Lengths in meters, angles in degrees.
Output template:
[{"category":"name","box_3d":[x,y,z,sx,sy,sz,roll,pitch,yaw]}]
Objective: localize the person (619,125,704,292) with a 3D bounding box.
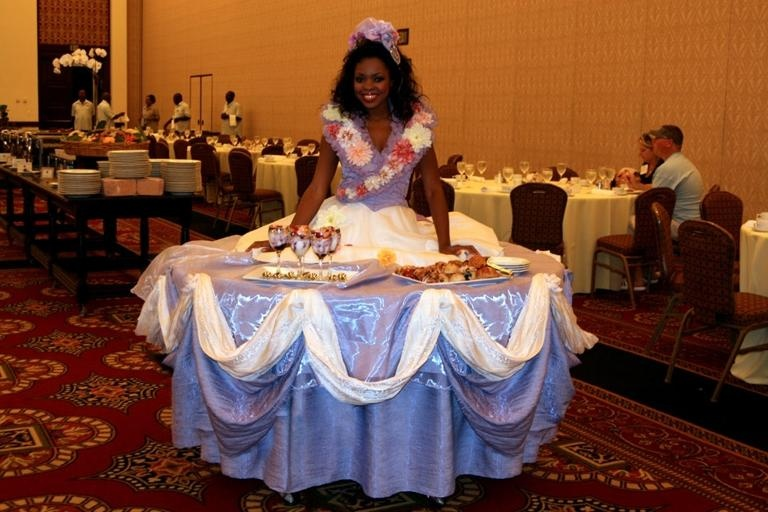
[{"category":"person","box_3d":[3.115,-0.524,6.478,0.855,1.842,0.632,-5,7,38]}]

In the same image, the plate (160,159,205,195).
[{"category":"plate","box_3d":[-1.797,-0.734,5.488,0.294,0.254,0.324,1,8,0]}]

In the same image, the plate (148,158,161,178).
[{"category":"plate","box_3d":[-2.114,-0.845,5.617,0.133,0.143,0.132,-1,7,-43]}]

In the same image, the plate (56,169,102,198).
[{"category":"plate","box_3d":[-2.559,-0.635,5.104,0.255,0.172,0.254,-2,7,-43]}]

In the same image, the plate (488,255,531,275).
[{"category":"plate","box_3d":[0.595,0.035,2.827,0.109,0.033,0.114,-2,17,-26]}]

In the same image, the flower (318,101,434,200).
[{"category":"flower","box_3d":[-0.035,-0.492,3.373,0.705,0.754,0.444,1,13,-7]}]

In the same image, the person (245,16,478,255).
[{"category":"person","box_3d":[-0.047,-0.617,3.150,1.036,1.222,0.718,1,4,5]}]

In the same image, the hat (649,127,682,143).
[{"category":"hat","box_3d":[3.031,-1.330,6.390,0.242,0.146,0.184,13,14,21]}]

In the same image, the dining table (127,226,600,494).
[{"category":"dining table","box_3d":[-0.058,0.484,2.678,1.213,0.569,1.342,4,12,4]}]

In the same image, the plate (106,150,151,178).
[{"category":"plate","box_3d":[-2.222,-0.825,5.260,0.254,0.178,0.273,0,8,-17]}]
